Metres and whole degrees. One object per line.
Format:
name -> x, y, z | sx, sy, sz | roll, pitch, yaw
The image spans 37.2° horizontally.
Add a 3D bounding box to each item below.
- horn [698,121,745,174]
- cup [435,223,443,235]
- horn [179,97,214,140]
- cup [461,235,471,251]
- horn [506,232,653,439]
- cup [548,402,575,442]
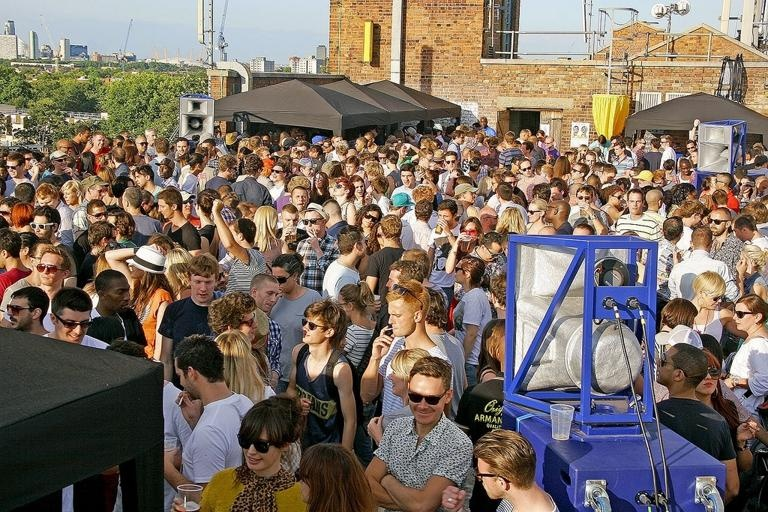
horn -> 5.795, -1.829, 18.056 | 0.598, 0.931, 0.739 | 17, 39, 37
cup -> 0.777, -0.320, 13.104 | 0.092, 0.107, 0.093 | 12, 5, -1
horn -> -3.265, -2.429, 19.812 | 0.583, 0.872, 0.630 | 8, 34, -11
cup -> 1.054, -0.153, 12.468 | 0.136, 0.208, 0.146 | 2, 52, -3
horn -> 1.703, 0.531, 9.097 | 0.846, 1.445, 0.972 | 4, 3, 43
cup -> 1.506, 1.258, 8.725 | 0.227, 0.246, 0.231 | 1, 9, 0
